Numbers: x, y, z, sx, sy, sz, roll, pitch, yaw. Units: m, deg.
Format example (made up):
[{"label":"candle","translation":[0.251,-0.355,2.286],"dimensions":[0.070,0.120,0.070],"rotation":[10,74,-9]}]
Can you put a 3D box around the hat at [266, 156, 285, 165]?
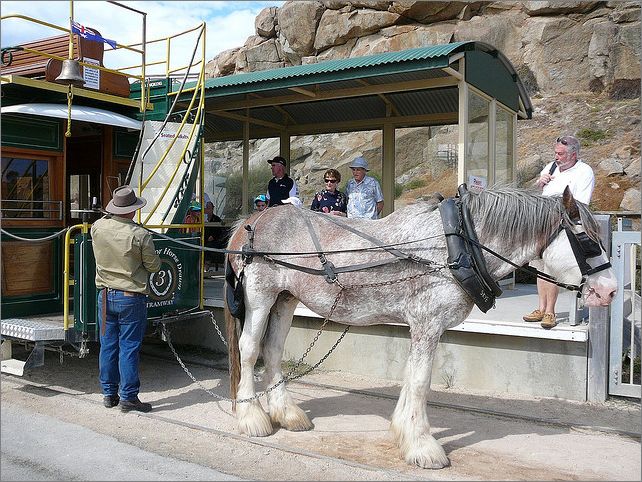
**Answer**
[{"label":"hat","translation":[-0.775,-1.400,16.088],"dimensions":[0.267,0.149,0.191],"rotation":[9,5,7]}]

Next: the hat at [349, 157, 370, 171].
[{"label":"hat","translation":[0.593,-1.219,15.206],"dimensions":[0.238,0.137,0.259],"rotation":[6,3,-1]}]

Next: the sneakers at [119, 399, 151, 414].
[{"label":"sneakers","translation":[-2.463,2.166,12.660],"dimensions":[0.409,0.185,0.155],"rotation":[1,-1,-25]}]

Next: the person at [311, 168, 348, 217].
[{"label":"person","translation":[0.133,-0.786,15.467],"dimensions":[0.761,1.136,0.659],"rotation":[0,5,1]}]

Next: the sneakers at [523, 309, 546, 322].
[{"label":"sneakers","translation":[2.973,1.052,13.436],"dimensions":[0.321,0.115,0.122],"rotation":[1,-4,-42]}]

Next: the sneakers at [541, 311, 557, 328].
[{"label":"sneakers","translation":[3.087,1.085,13.032],"dimensions":[0.111,0.120,0.306],"rotation":[-2,-11,30]}]

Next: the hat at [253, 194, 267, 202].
[{"label":"hat","translation":[-1.048,-0.749,16.604],"dimensions":[0.163,0.085,0.260],"rotation":[0,2,9]}]

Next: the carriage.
[{"label":"carriage","translation":[-1.468,-0.504,17.074],"dimensions":[13.186,8.326,3.942],"rotation":[0,0,26]}]
